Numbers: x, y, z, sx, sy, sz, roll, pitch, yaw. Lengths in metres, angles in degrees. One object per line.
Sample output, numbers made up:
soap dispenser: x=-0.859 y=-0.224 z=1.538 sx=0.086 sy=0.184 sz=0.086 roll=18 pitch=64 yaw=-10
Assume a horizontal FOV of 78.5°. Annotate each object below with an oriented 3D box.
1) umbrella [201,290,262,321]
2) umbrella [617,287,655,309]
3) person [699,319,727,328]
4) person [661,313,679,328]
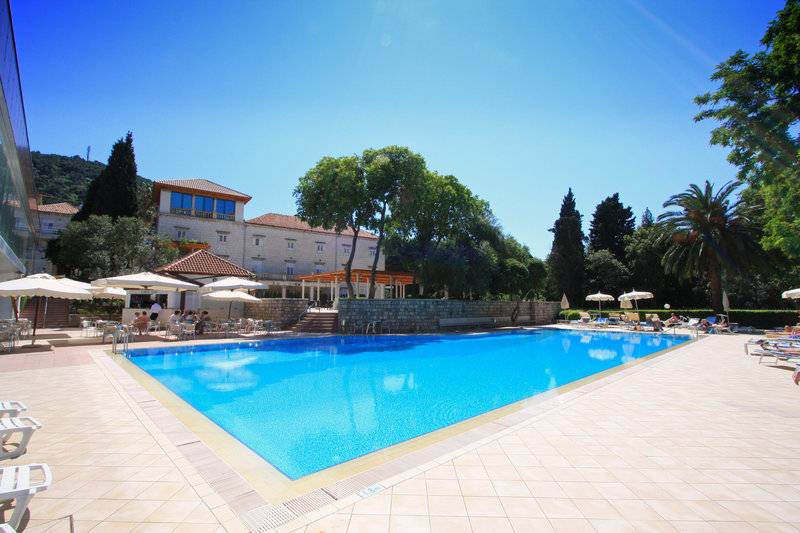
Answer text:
umbrella: x=-9.450 y=1.869 z=27.790 sx=2.660 sy=1.958 sz=2.855 roll=6 pitch=-8 yaw=-18
umbrella: x=20.573 y=2.949 z=42.856 sx=1.596 sy=1.531 sz=1.714 roll=-1 pitch=-11 yaw=-3
person: x=20.637 y=3.966 z=32.254 sx=1.639 sy=0.820 sz=1.459 roll=-4 pitch=-7 yaw=35
person: x=19.111 y=4.025 z=34.736 sx=0.697 sy=0.815 sz=1.233 roll=1 pitch=-9 yaw=-7
